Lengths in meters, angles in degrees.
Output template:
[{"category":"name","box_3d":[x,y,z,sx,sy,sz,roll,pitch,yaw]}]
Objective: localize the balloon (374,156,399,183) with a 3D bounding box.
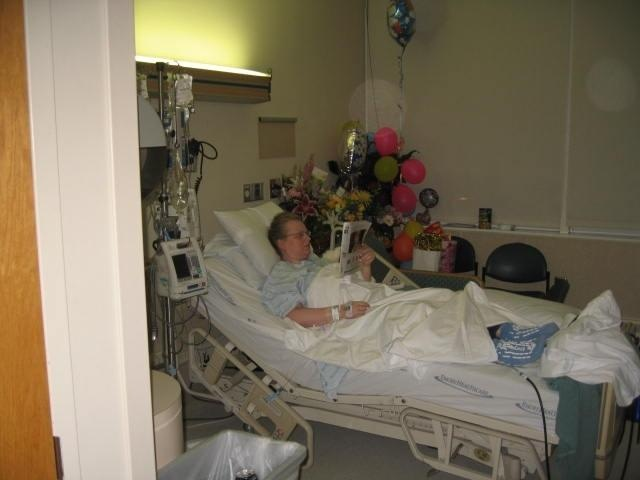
[{"category":"balloon","box_3d":[0.657,-0.715,5.039,0.221,0.302,0.241,5,35,8]}]

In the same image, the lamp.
[{"category":"lamp","box_3d":[-0.812,-1.159,3.626,0.423,0.298,1.483,3,11,21]}]

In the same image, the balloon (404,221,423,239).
[{"category":"balloon","box_3d":[0.906,-0.111,4.894,0.153,0.204,0.164,-8,14,2]}]

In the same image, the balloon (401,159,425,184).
[{"category":"balloon","box_3d":[0.947,-0.712,5.129,0.229,0.237,0.164,2,11,15]}]

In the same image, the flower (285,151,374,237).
[{"category":"flower","box_3d":[-0.033,-0.357,4.170,0.661,0.478,0.674,35,16,25]}]

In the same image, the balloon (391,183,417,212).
[{"category":"balloon","box_3d":[0.823,-0.429,5.070,0.200,0.296,0.202,-23,14,-11]}]

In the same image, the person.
[{"category":"person","box_3d":[0.398,0.314,2.934,1.473,0.671,0.763,1,19,24]}]

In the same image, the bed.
[{"category":"bed","box_3d":[0.286,0.742,3.088,2.057,1.003,1.201,7,24,22]}]

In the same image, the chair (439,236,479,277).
[{"category":"chair","box_3d":[1.270,0.147,4.657,0.289,0.547,0.372,1,5,8]}]

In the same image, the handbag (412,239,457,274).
[{"category":"handbag","box_3d":[1.073,0.145,4.615,0.408,0.339,0.235,5,7,36]}]

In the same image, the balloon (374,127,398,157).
[{"category":"balloon","box_3d":[0.643,-1.016,5.080,0.239,0.313,0.252,-18,16,-3]}]

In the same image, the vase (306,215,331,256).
[{"category":"vase","box_3d":[-0.042,-0.032,4.165,0.216,0.314,0.120,-8,1,-37]}]
